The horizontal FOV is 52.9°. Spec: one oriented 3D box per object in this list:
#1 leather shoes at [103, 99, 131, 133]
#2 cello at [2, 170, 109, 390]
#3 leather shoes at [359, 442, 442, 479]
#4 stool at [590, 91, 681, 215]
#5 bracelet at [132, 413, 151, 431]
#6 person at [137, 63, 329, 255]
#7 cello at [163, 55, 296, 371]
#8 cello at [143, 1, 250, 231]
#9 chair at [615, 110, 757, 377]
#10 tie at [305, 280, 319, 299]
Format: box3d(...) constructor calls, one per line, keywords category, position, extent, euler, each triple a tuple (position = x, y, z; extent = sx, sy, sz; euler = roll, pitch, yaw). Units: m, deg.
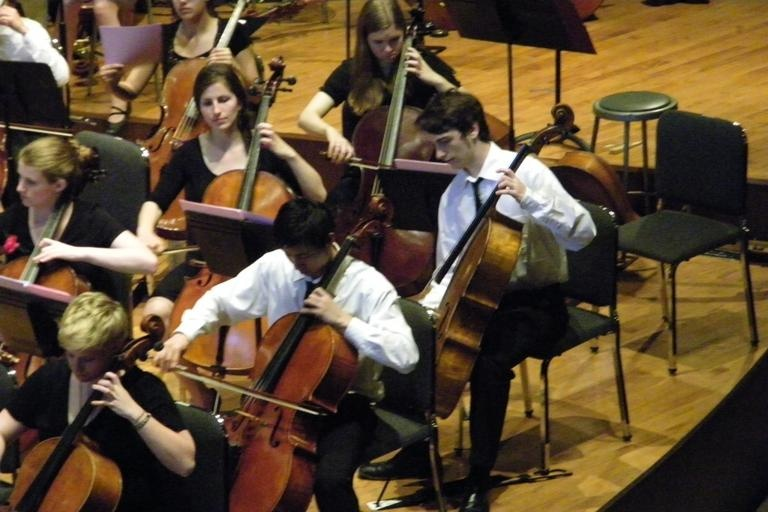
box3d(category="leather shoes", position=(-1.605, -0.865, 4.669), extent=(0.140, 0.100, 0.335), euler=(-4, 49, -4))
box3d(category="cello", position=(-1.226, 0.095, 2.989), extent=(0.411, 0.832, 0.191), euler=(-3, -10, 10))
box3d(category="leather shoes", position=(0.074, 0.775, 2.964), extent=(0.394, 0.138, 0.119), euler=(1, 9, -1))
box3d(category="stool", position=(1.193, -0.541, 3.892), extent=(0.386, 0.488, 0.352), euler=(11, -3, 17))
box3d(category="bracelet", position=(-0.718, 0.489, 2.295), extent=(0.057, 0.021, 0.053), euler=(-35, 16, -2))
box3d(category="person", position=(-0.689, -0.371, 3.186), extent=(0.767, 0.827, 0.284), euler=(-4, -2, -8))
box3d(category="cello", position=(-0.556, -0.180, 3.041), extent=(0.532, 1.172, 0.387), euler=(4, -30, 12))
box3d(category="cello", position=(-0.993, -0.679, 3.774), extent=(0.477, 1.112, 0.165), euler=(24, -12, -11))
box3d(category="chair", position=(1.337, -0.089, 3.363), extent=(0.540, 1.037, 0.478), euler=(-27, 24, -38))
box3d(category="tie", position=(-0.242, 0.114, 2.687), extent=(0.018, 0.064, 0.046), euler=(18, -10, -34))
